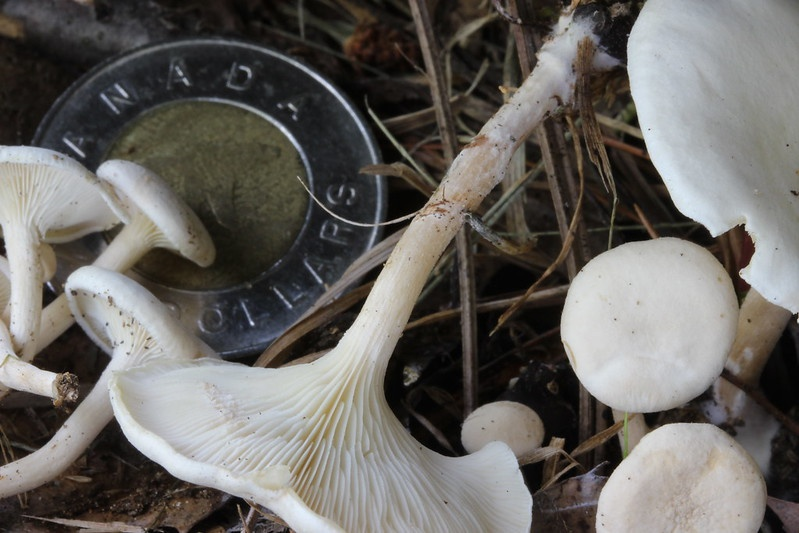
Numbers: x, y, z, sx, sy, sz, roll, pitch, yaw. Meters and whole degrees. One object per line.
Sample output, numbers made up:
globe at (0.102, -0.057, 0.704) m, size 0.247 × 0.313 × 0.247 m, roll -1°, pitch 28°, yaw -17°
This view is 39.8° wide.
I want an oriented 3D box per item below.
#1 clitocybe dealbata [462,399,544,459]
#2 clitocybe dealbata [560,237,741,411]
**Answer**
clitocybe dealbata at (0.355, 0.537, 3.833) m, size 0.264 × 0.225 × 0.206 m, roll -9°, pitch 16°, yaw -25°
clitocybe dealbata at (0.821, 0.193, 3.549) m, size 0.449 × 0.589 × 0.140 m, roll 20°, pitch -3°, yaw 4°
